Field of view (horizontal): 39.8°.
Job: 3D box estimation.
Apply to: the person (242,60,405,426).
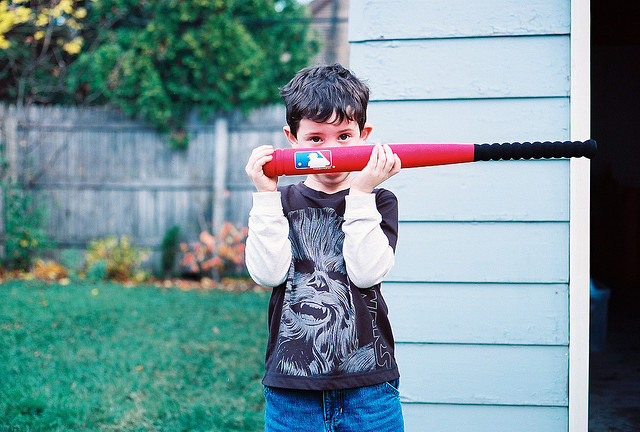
[{"bbox_3d":[0.030,0.117,4.248,0.758,1.743,0.343,1,-1,4],"label":"person"}]
